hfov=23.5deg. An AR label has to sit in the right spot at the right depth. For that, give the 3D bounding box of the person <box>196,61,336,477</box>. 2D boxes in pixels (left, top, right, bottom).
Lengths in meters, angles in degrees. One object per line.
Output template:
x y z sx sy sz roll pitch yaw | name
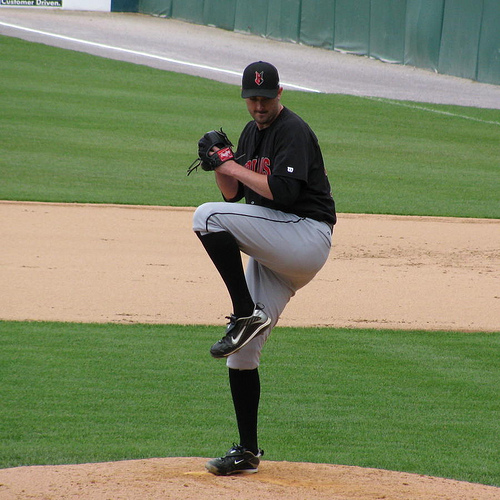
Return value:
0.100 0.164 10.280 1.186 3.495 0.585 4 7 -10 | person

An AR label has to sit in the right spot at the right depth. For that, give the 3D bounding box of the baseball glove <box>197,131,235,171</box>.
-0.289 -0.908 10.134 0.289 0.161 0.390 -32 -5 -6 | baseball glove

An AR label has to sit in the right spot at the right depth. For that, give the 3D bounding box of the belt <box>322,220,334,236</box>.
0.672 -0.188 10.361 0.100 0.061 0.076 43 14 -18 | belt

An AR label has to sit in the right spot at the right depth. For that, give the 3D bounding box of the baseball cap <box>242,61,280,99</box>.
0.099 -1.462 10.221 0.341 0.259 0.492 3 26 11 | baseball cap
